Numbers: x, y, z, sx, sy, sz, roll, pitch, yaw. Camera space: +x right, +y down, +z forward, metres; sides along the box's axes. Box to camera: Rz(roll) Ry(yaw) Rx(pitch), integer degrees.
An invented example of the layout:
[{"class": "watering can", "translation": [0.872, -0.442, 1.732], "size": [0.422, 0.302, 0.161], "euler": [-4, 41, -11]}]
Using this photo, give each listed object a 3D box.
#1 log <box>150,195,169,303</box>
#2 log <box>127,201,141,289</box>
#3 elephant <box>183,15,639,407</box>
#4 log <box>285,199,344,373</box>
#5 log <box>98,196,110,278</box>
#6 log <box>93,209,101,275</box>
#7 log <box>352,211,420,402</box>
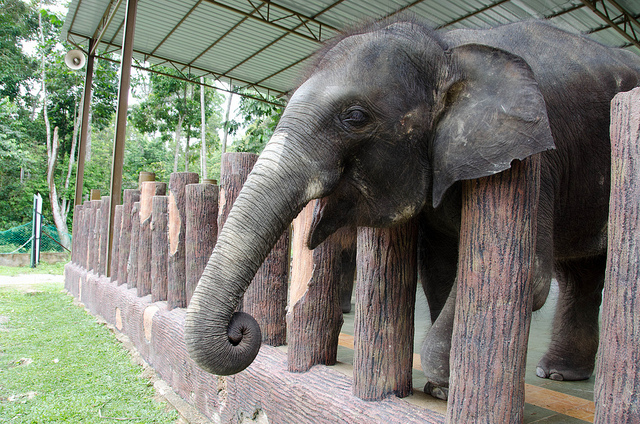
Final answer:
[{"class": "log", "translation": [-1.594, 0.412, 4.961], "size": [0.160, 0.929, 0.168], "euler": [-4, -9, 9]}, {"class": "log", "translation": [-2.144, 0.508, 5.762], "size": [0.163, 0.166, 1.076], "euler": [6, 43, -25]}, {"class": "elephant", "translation": [0.594, 0.043, 3.280], "size": [2.804, 2.269, 2.017], "euler": [2, -7, -17]}, {"class": "log", "translation": [0.009, 0.519, 3.444], "size": [0.333, 0.948, 0.268], "euler": [4, -8, 41]}, {"class": "log", "translation": [-3.085, 0.343, 7.145], "size": [0.135, 1.348, 0.167], "euler": [11, 25, -5]}, {"class": "log", "translation": [-3.342, 0.433, 7.488], "size": [0.116, 1.186, 0.119], "euler": [-10, 31, -39]}, {"class": "log", "translation": [0.371, 0.472, 2.991], "size": [0.327, 1.231, 0.275], "euler": [3, 2, 31]}]
